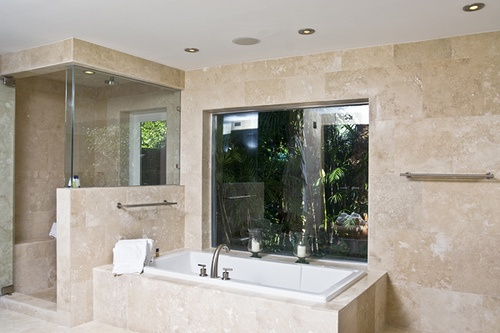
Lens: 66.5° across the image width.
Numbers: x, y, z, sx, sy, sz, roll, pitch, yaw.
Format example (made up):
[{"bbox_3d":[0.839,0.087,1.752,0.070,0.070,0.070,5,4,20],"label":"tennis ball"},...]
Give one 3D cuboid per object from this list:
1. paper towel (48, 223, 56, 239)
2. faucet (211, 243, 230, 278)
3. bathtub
[{"bbox_3d":[-2.689,0.856,5.188,0.073,0.201,0.278,3,-3,-33],"label":"paper towel"},{"bbox_3d":[-0.323,0.990,4.086,0.177,0.358,0.493,2,-3,-4],"label":"faucet"},{"bbox_3d":[-0.036,1.193,4.131,2.348,0.282,0.994,0,-4,25],"label":"bathtub"}]
